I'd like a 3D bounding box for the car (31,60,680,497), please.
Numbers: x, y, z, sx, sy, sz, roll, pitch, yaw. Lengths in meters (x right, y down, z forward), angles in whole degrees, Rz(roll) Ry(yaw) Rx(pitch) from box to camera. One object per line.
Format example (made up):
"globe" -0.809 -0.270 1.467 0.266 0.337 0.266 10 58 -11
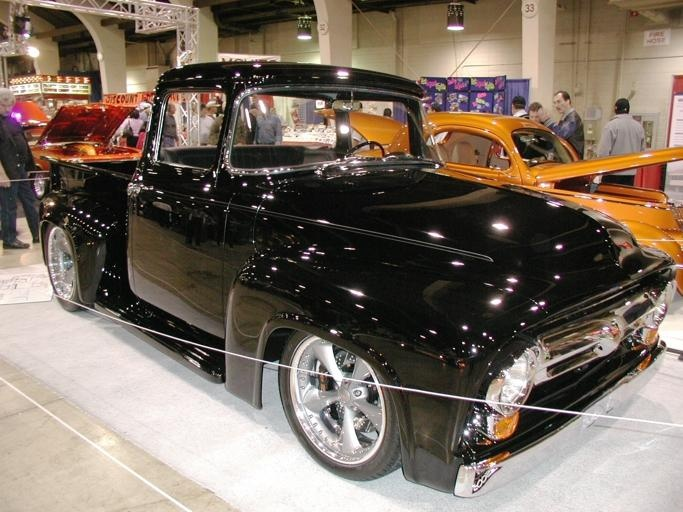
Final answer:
"car" -0.619 -0.292 3.510 4.875 1.563 2.598 12 20 35
